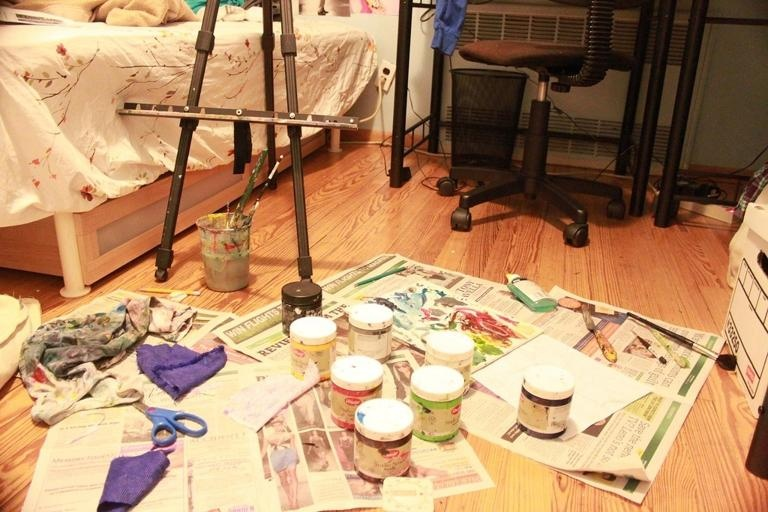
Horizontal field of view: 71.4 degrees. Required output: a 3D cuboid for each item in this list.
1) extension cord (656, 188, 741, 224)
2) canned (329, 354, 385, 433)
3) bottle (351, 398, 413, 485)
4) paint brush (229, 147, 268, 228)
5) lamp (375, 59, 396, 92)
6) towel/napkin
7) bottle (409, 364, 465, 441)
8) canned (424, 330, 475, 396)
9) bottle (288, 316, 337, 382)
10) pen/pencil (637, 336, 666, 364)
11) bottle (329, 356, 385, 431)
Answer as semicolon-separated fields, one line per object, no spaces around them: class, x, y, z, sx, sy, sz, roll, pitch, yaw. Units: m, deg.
extension cord;1.335;-0.194;2.200;0.221;0.048;0.198;5;18;14
canned;-0.093;0.292;1.223;0.153;0.152;0.144;-2;32;-7
bottle;-0.004;0.368;1.084;0.109;0.124;0.098;3;29;-1
paint brush;-0.490;-0.242;1.907;0.055;0.366;0.044;26;3;-2
lamp;0.006;-0.990;2.958;0.090;0.174;0.042;6;30;4
towel/napkin;-0.502;0.258;1.332;0.199;0.042;0.169;24;34;33
bottle;0.125;0.314;1.184;0.140;0.137;0.127;1;29;-4
canned;0.159;0.242;1.323;0.140;0.135;0.133;8;37;5
bottle;-0.163;0.214;1.334;0.143;0.142;0.134;-6;37;-13
pen/pencil;0.718;0.248;1.433;0.021;0.008;0.093;-23;34;-6
bottle;-0.067;0.292;1.230;0.153;0.152;0.144;-2;32;-7
